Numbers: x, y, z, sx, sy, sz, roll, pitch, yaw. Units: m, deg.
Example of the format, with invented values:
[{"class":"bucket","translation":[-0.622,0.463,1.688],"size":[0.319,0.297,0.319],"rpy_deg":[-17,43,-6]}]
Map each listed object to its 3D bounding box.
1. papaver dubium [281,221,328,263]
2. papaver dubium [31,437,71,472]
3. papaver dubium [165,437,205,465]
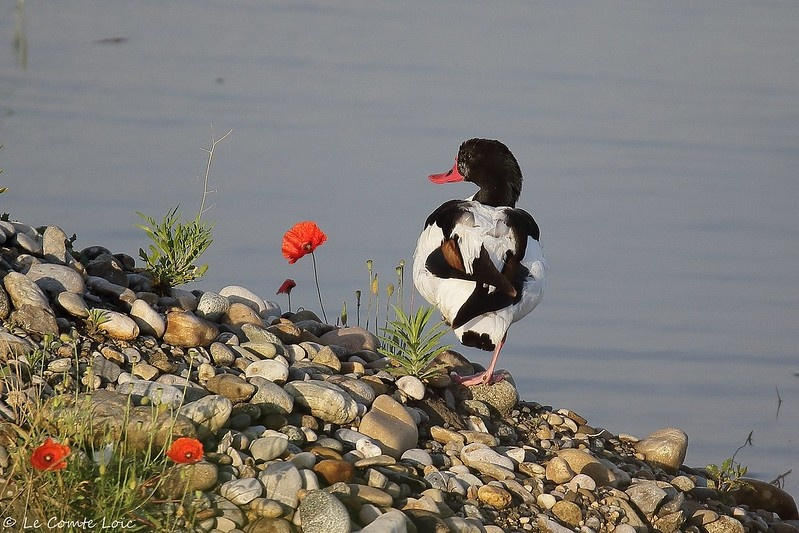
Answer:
[{"class":"papaver dubium","translation":[-0.676,-0.155,10.427],"size":[0.270,0.305,0.481],"rpy_deg":[10,0,-4]},{"class":"papaver dubium","translation":[-1.912,1.041,8.170],"size":[0.197,0.183,0.226],"rpy_deg":[10,-1,-8]},{"class":"papaver dubium","translation":[-1.178,1.018,8.274],"size":[0.185,0.167,0.079],"rpy_deg":[7,-41,-3]}]
